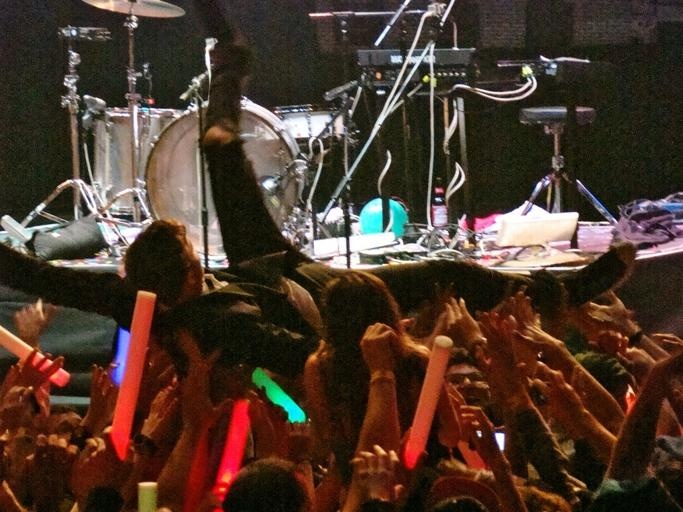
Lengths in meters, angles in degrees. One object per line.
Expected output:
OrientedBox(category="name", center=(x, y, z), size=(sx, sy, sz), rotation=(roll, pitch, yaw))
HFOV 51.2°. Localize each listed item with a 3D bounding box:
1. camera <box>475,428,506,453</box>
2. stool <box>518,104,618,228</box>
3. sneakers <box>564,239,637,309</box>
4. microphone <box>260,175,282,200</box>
OrientedBox(category="camera", center=(0.364, 0.436, 1.701), size=(0.067, 0.071, 0.044), rotation=(0, -4, 0))
OrientedBox(category="stool", center=(0.919, -0.372, 3.017), size=(0.450, 0.500, 0.483), rotation=(0, 4, 31))
OrientedBox(category="sneakers", center=(0.722, 0.057, 2.042), size=(0.129, 0.223, 0.060), rotation=(44, 0, -8))
OrientedBox(category="microphone", center=(-0.236, -0.233, 2.386), size=(0.075, 0.062, 0.087), rotation=(3, 12, -3))
